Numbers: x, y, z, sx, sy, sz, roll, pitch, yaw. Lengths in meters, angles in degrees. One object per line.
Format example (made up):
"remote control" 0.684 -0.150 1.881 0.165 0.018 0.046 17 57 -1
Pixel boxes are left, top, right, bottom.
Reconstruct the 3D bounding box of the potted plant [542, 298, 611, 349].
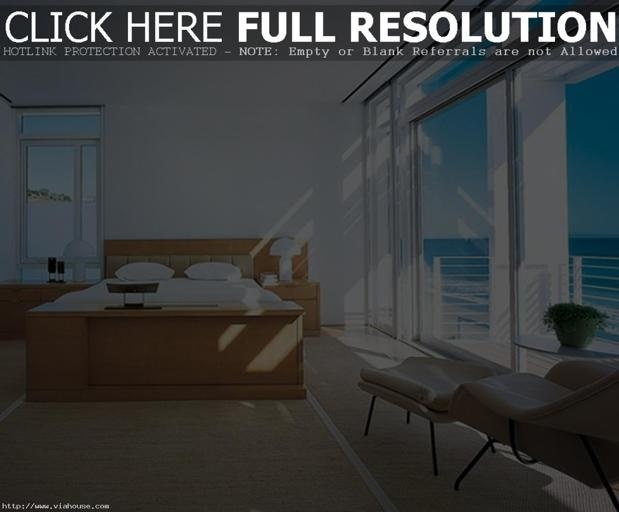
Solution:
"potted plant" 1.698 0.420 3.314 0.302 0.256 0.294 0 7 -5

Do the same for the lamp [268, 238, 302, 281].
"lamp" -0.292 0.023 6.603 0.473 0.619 0.487 0 -5 -5

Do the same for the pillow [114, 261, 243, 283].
"pillow" -1.510 0.171 5.973 1.399 0.189 0.484 -1 7 -10

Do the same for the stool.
"stool" 0.721 1.030 3.194 0.581 0.555 0.822 4 -6 -31

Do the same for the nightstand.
"nightstand" -0.256 0.624 6.482 0.823 0.767 0.590 0 -2 -4
